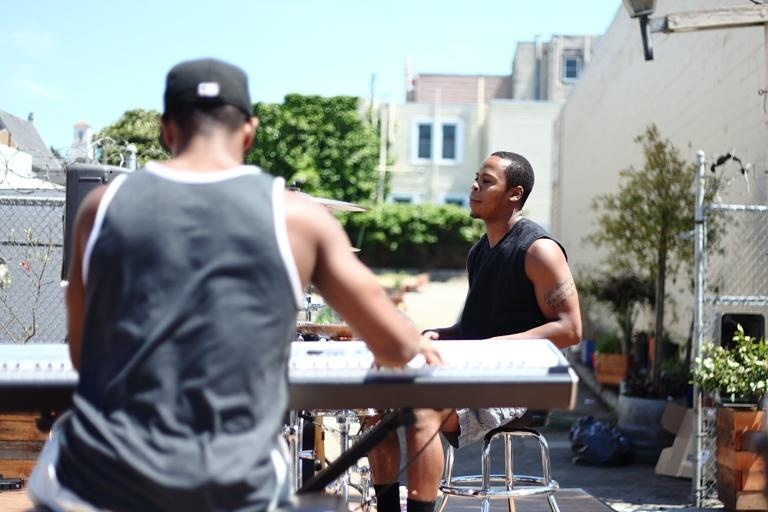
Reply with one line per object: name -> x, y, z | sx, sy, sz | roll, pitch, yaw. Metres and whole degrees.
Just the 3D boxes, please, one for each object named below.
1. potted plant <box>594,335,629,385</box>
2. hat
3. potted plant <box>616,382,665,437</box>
potted plant -> 3.799, 1.759, 21.410 | 0.600, 0.920, 0.694 | 1, -4, 4
hat -> -1.965, -1.566, 14.091 | 0.713, 1.132, 1.040 | 14, 38, 24
potted plant -> 3.864, 2.366, 19.310 | 0.721, 0.508, 0.602 | 4, 7, 20
